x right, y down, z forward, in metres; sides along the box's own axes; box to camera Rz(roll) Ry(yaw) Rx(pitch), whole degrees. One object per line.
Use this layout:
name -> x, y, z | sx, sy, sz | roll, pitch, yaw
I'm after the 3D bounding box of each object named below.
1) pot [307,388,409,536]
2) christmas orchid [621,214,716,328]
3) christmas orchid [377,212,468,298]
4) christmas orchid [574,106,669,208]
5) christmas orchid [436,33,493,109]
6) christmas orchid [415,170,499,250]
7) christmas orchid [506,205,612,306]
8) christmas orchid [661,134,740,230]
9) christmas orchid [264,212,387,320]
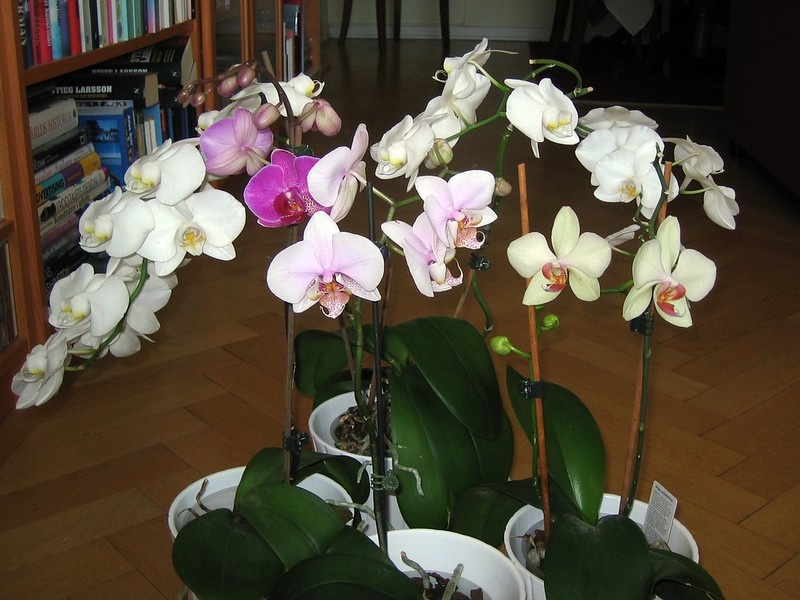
pot -> -0.085, 0.270, 1.090 | 0.184, 0.169, 0.215 | -8, 28, -6
christmas orchid -> 0.255, -0.026, 0.615 | 0.082, 0.106, 0.066 | 3, 14, -4
christmas orchid -> 0.027, -0.040, 0.579 | 0.081, 0.037, 0.065 | 30, 7, 31
christmas orchid -> 0.238, -0.148, 0.674 | 0.103, 0.090, 0.135 | 9, 33, 13
christmas orchid -> 0.070, -0.235, 0.649 | 0.043, 0.063, 0.061 | -7, -2, 3
christmas orchid -> 0.050, -0.083, 0.577 | 0.080, 0.050, 0.092 | -6, 31, -20
christmas orchid -> 0.156, -0.044, 0.652 | 0.096, 0.127, 0.095 | 3, 31, 4
christmas orchid -> 0.319, -0.131, 0.683 | 0.107, 0.046, 0.090 | 29, 33, 1
christmas orchid -> -0.063, -0.028, 0.549 | 0.092, 0.094, 0.023 | -10, 3, -1
